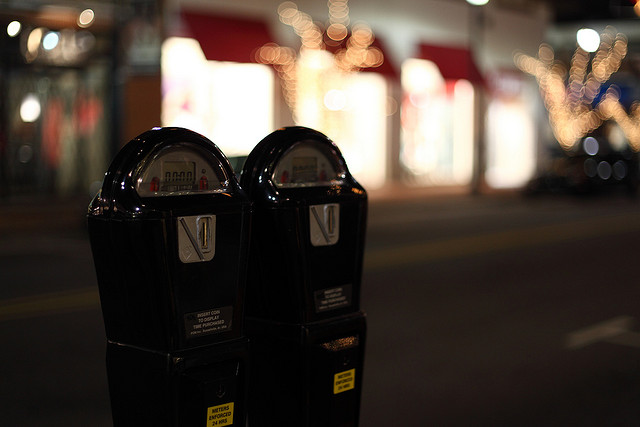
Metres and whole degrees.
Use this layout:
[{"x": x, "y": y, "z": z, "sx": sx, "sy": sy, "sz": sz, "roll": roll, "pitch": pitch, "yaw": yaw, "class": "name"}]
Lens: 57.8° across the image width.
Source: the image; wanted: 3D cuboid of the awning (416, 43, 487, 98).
[{"x": 2.992, "y": -3.145, "z": 12.756, "sx": 1.020, "sy": 1.161, "sz": 1.889, "roll": -5, "pitch": 15, "yaw": -23, "class": "awning"}]

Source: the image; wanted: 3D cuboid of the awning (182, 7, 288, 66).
[{"x": -1.484, "y": -3.064, "z": 9.990, "sx": 1.006, "sy": 0.276, "sz": 1.172, "roll": -7, "pitch": -29, "yaw": -13, "class": "awning"}]
